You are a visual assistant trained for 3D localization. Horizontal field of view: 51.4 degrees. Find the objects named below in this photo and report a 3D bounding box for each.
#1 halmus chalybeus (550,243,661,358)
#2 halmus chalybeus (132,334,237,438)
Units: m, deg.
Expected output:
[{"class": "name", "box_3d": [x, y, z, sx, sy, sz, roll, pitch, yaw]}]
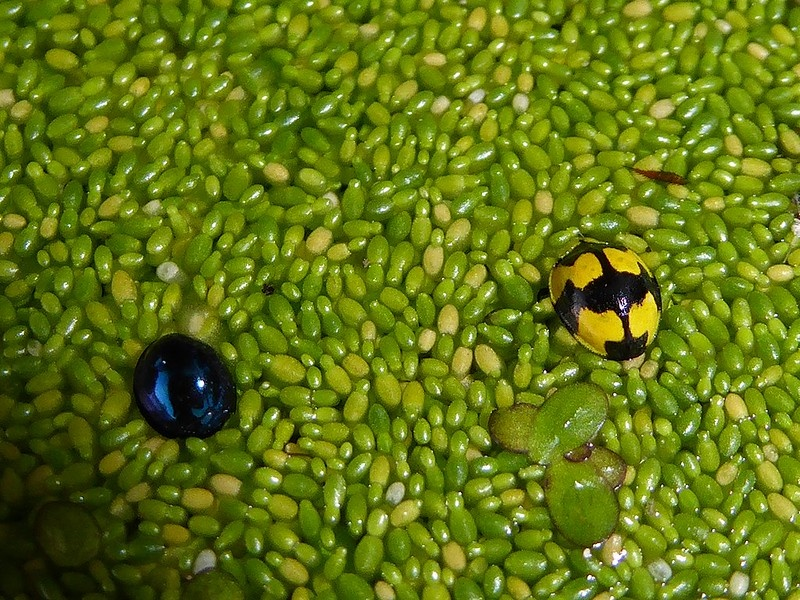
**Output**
[{"class": "halmus chalybeus", "box_3d": [0.277, -0.008, 1.143, 0.165, 0.070, 0.191, -7, 47, -8]}, {"class": "halmus chalybeus", "box_3d": [-0.288, 0.115, 1.106, 0.123, 0.074, 0.139, -19, 76, -15]}]
